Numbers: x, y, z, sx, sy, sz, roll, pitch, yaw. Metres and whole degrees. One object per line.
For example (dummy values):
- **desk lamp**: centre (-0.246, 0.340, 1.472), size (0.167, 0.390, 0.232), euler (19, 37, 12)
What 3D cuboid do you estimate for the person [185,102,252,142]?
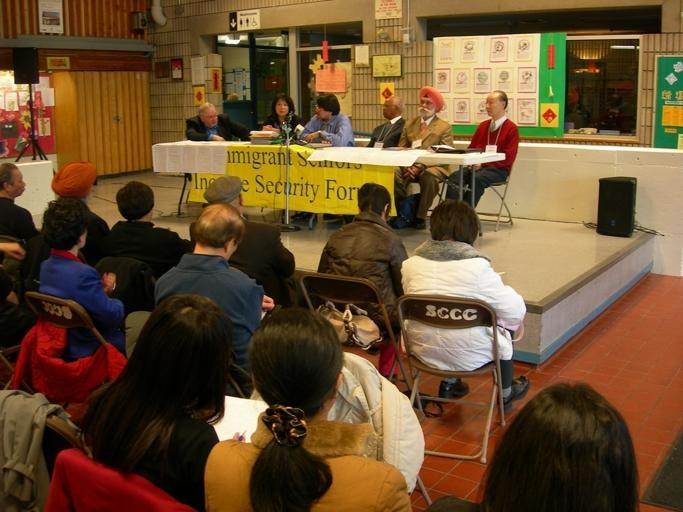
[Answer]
- **person**: centre (-1.890, -2.029, 8.257), size (0.739, 0.551, 1.078), euler (6, 16, 26)

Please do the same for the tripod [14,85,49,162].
- **tripod**: centre (-6.226, -2.670, 10.791), size (0.487, 1.477, 2.211), euler (-8, 16, -28)

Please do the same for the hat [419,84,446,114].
- **hat**: centre (1.189, -2.091, 7.308), size (0.351, 0.396, 0.476), euler (17, 15, 6)

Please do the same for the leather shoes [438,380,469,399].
- **leather shoes**: centre (0.773, 0.932, 3.839), size (0.225, 0.122, 0.104), euler (-6, 10, -21)

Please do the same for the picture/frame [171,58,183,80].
- **picture/frame**: centre (-3.768, -4.271, 12.390), size (0.411, 0.472, 0.107), euler (8, 16, 33)

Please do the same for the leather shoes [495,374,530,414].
- **leather shoes**: centre (1.142, 0.914, 3.669), size (0.119, 0.154, 0.331), euler (11, 38, 32)

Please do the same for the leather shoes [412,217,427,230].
- **leather shoes**: centre (0.933, -0.400, 6.669), size (0.135, 0.159, 0.355), euler (1, 1, 11)

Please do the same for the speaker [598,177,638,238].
- **speaker**: centre (3.199, -0.578, 6.375), size (0.387, 0.651, 0.342), euler (5, 15, 24)

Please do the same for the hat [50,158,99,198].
- **hat**: centre (-2.116, -0.622, 4.305), size (0.319, 0.306, 0.246), euler (-21, 60, -34)

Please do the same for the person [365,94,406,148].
- **person**: centre (0.641, -1.753, 7.581), size (0.446, 0.847, 0.772), euler (0, 7, -33)
